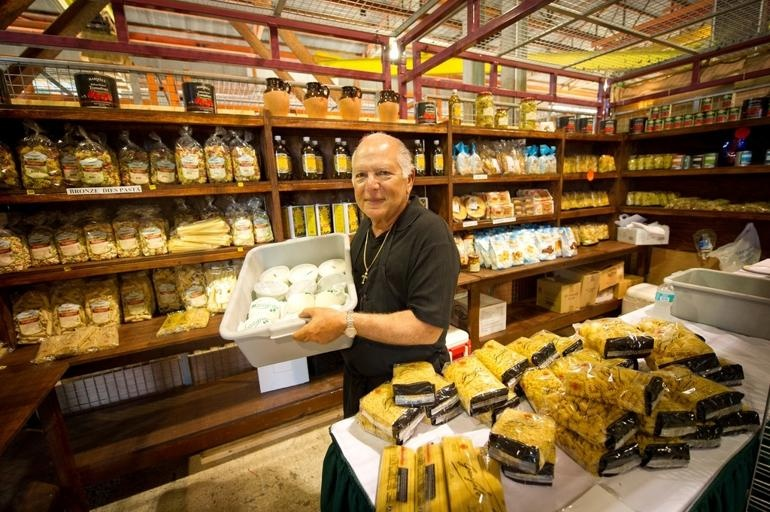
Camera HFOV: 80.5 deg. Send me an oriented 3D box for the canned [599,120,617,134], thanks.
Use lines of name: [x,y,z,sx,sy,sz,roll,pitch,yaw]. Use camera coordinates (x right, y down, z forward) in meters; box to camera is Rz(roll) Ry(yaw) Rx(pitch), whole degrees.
canned: [2.475,-1.428,5.047,0.183,0.163,0.177,5,14,35]

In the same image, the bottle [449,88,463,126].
bottle: [0.635,-1.365,4.144,0.098,0.339,0.202,-3,10,9]

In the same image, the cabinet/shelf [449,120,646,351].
cabinet/shelf: [1.566,-0.214,4.506,2.632,2.101,0.812,-7,11,-30]

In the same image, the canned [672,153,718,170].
canned: [3.178,-0.967,4.641,0.091,0.085,0.275,-2,5,-37]

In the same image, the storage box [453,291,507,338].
storage box: [0.956,0.572,4.494,0.545,0.282,0.517,-8,15,-31]

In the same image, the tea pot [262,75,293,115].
tea pot: [-0.850,-1.265,3.571,0.338,0.319,0.266,0,13,-10]

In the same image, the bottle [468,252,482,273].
bottle: [0.882,0.052,4.420,0.094,0.172,0.233,0,10,26]

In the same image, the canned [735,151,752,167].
canned: [3.450,-0.948,4.372,0.122,0.154,0.150,1,11,30]

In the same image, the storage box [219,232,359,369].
storage box: [-0.608,0.253,2.966,0.778,0.710,0.812,-5,9,-7]

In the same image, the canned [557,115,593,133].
canned: [2.045,-1.431,4.900,0.316,0.173,0.163,3,13,12]
